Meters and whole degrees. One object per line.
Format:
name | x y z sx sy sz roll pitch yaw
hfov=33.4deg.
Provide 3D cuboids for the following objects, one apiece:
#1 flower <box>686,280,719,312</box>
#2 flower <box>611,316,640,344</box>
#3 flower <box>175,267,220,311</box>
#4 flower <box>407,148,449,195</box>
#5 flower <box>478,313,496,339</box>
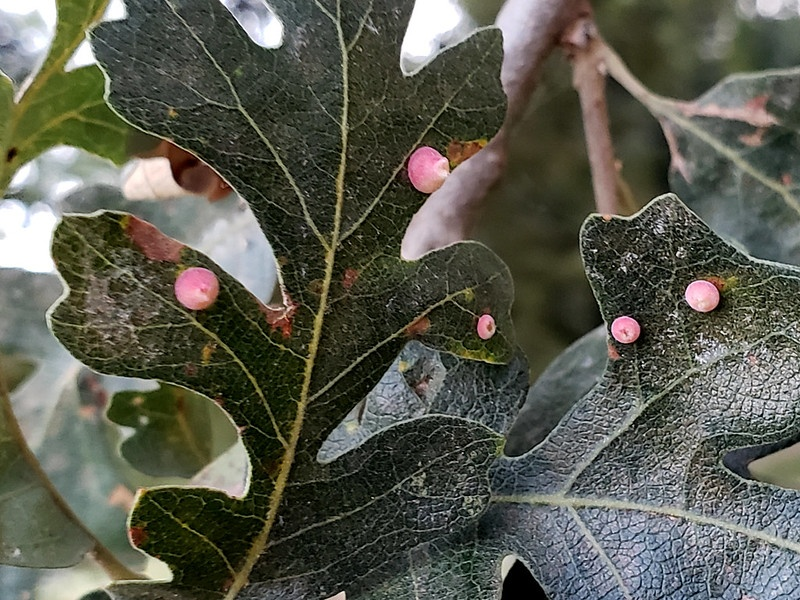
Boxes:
flower | 0.317 -0.003 1.402 0.035 0.019 0.029 1 67 17
flower | 0.240 0.033 1.426 0.032 0.021 0.025 -11 64 12
flower | -0.202 -0.011 1.325 0.033 0.029 0.043 21 74 23
flower | 0.027 -0.130 1.363 0.036 0.025 0.045 -8 93 2
flower | 0.091 0.029 1.427 0.021 0.025 0.014 -38 20 -31
